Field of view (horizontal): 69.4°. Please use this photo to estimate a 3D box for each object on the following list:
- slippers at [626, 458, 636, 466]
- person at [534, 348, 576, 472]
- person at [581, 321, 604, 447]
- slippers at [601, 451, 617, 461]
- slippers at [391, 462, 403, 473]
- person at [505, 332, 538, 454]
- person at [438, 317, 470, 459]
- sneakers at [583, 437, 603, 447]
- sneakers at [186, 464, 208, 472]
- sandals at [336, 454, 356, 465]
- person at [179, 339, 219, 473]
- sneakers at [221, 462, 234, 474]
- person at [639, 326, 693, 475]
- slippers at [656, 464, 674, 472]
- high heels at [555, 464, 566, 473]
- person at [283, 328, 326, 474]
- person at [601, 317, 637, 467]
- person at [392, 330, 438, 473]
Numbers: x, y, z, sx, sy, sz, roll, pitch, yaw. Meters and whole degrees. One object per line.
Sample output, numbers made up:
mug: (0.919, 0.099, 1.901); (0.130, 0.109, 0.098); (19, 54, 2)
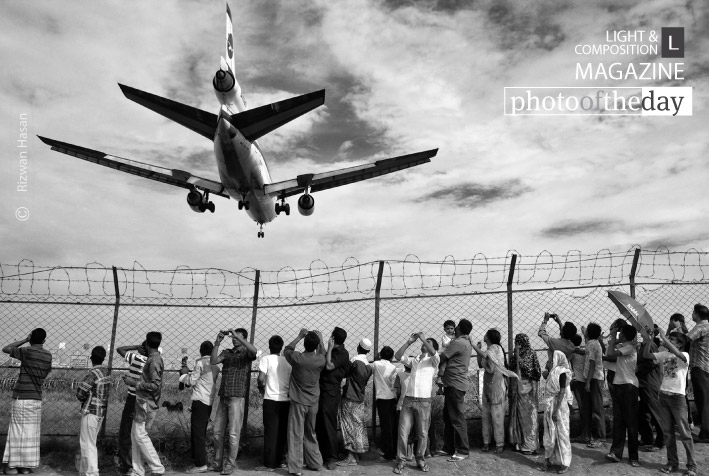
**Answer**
slippers: (6.041, 4.871, 11.197); (0.106, 0.169, 0.173); (12, -30, -11)
person: (4.346, 3.741, 11.211); (0.642, 2.512, 0.874); (-2, -16, 11)
person: (5.657, 3.505, 12.265); (0.484, 2.796, 1.092); (-3, -16, 14)
slippers: (5.681, 4.830, 11.401); (0.299, 0.200, 0.164); (-4, -16, 16)
slippers: (0.927, 5.041, 11.352); (0.259, 0.218, 0.347); (-1, -16, 7)
person: (3.996, 3.650, 12.149); (0.708, 2.682, 0.905); (1, -16, 1)
person: (2.317, 3.460, 11.884); (0.663, 3.084, 0.944); (-1, -16, 6)
sneakers: (5.687, 4.872, 12.267); (0.464, 0.183, 0.196); (1, -12, 6)
sneakers: (-3.492, 5.089, 11.391); (0.468, 0.196, 0.170); (2, -14, -3)
sandals: (-0.217, 5.118, 11.856); (0.442, 0.170, 0.241); (-1, -16, 4)
person: (-3.521, 3.750, 11.505); (0.705, 2.786, 0.800); (2, -16, -6)
sneakers: (-2.808, 5.055, 11.347); (0.283, 0.205, 0.236); (4, -16, -13)
person: (6.744, 3.451, 11.016); (0.846, 2.972, 1.292); (-9, -18, 31)
slippers: (6.546, 4.841, 10.829); (0.409, 0.159, 0.138); (5, -14, -11)
high heels: (4.390, 4.925, 10.979); (0.124, 0.098, 0.253); (-18, -27, 35)
person: (-1.120, 3.636, 11.507); (0.823, 3.086, 0.915); (-5, -17, 20)
person: (5.946, 3.382, 11.523); (0.630, 3.163, 0.799); (14, -20, -39)
person: (1.318, 3.628, 11.386); (0.898, 2.957, 1.240); (7, -17, -22)
